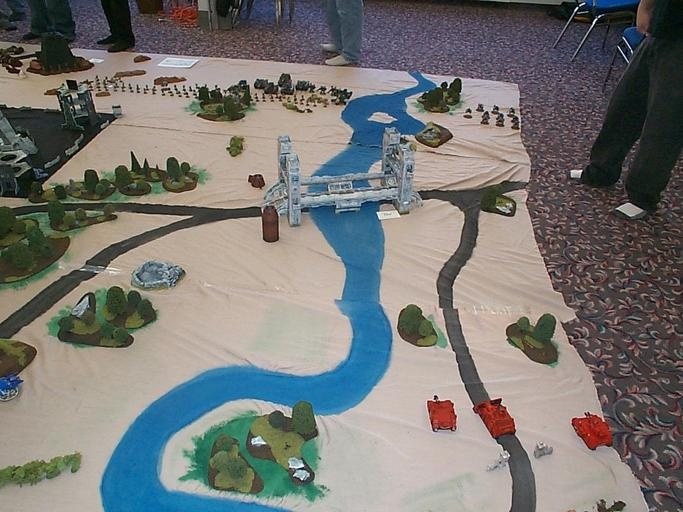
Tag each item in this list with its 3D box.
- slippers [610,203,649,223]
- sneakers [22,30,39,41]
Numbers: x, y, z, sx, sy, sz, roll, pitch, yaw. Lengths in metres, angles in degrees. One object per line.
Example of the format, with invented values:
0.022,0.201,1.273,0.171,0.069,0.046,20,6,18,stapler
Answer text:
4.367,-0.680,7.381,0.344,0.082,0.339,-36,51,-6,slippers
-7.777,-5.547,12.235,0.496,0.186,0.196,-8,65,-9,sneakers
